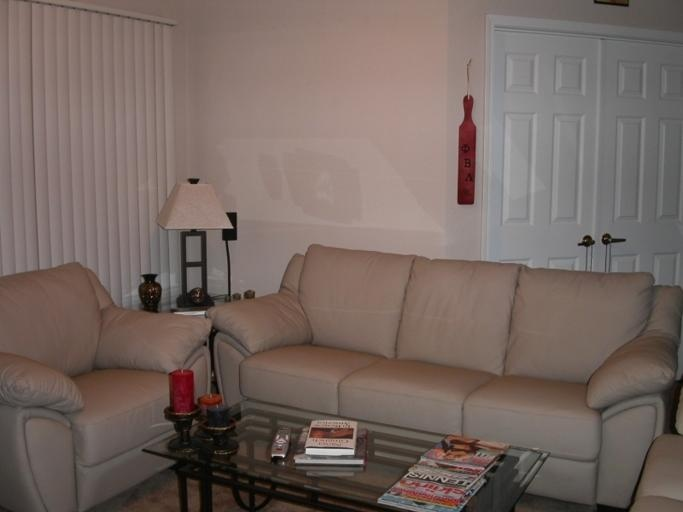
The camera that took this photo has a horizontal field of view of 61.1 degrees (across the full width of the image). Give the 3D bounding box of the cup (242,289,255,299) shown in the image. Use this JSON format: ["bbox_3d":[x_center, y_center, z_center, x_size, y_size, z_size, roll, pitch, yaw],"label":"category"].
[{"bbox_3d":[-0.661,0.271,4.096,0.082,0.096,0.084,2,-4,0],"label":"cup"}]

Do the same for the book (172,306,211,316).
[{"bbox_3d":[-1.006,0.369,3.845,0.154,0.038,0.143,0,3,-21],"label":"book"}]

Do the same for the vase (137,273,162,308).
[{"bbox_3d":[-1.283,0.235,3.864,0.153,0.225,0.139,-3,10,-24],"label":"vase"}]

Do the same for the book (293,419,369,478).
[{"bbox_3d":[-0.024,0.762,2.271,0.327,0.104,0.235,-3,8,-21],"label":"book"}]

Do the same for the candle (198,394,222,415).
[{"bbox_3d":[-0.549,0.603,2.396,0.089,0.090,0.090,1,0,1],"label":"candle"}]
